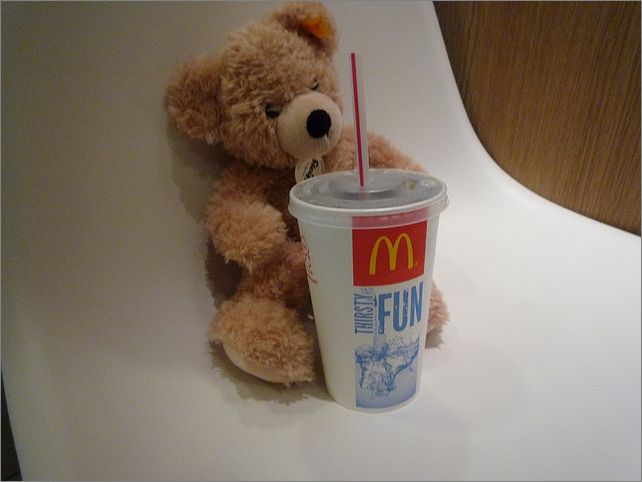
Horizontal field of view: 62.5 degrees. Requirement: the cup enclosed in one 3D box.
[{"bbox_3d":[0.034,0.027,1.158,0.347,0.535,0.365,-4,19,1],"label":"cup"}]
